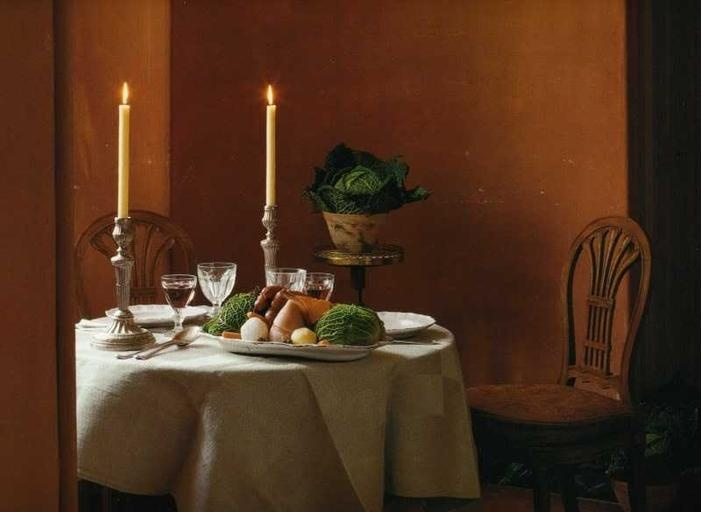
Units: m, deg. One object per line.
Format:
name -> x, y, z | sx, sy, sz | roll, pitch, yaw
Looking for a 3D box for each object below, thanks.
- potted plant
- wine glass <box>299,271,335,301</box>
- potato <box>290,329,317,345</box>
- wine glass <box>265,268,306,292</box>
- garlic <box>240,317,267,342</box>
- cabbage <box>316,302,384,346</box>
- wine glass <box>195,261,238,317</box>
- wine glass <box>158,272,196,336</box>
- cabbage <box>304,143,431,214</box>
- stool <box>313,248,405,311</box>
potted plant -> 0.033, -0.189, 2.464 | 0.475, 0.365, 0.433 | 5, 9, 24
wine glass -> -0.078, 0.073, 1.787 | 0.064, 0.083, 0.069 | 1, 0, -2
potato -> -0.100, 0.174, 1.532 | 0.036, 0.032, 0.038 | 3, -2, 3
wine glass -> -0.159, 0.067, 1.757 | 0.062, 0.057, 0.070 | 1, -4, -4
garlic -> -0.211, 0.162, 1.558 | 0.045, 0.053, 0.047 | -1, -7, 3
cabbage -> 0.004, 0.147, 1.571 | 0.100, 0.071, 0.091 | 1, -3, 11
wine glass -> -0.335, 0.087, 1.814 | 0.080, 0.140, 0.089 | 5, 2, 23
wine glass -> -0.406, 0.114, 1.697 | 0.084, 0.160, 0.091 | 4, 10, -3
cabbage -> 0.052, -0.241, 2.416 | 0.312, 0.159, 0.307 | -4, 15, -39
stool -> 0.030, 0.097, 2.563 | 0.323, 0.271, 0.356 | 3, 10, 18
